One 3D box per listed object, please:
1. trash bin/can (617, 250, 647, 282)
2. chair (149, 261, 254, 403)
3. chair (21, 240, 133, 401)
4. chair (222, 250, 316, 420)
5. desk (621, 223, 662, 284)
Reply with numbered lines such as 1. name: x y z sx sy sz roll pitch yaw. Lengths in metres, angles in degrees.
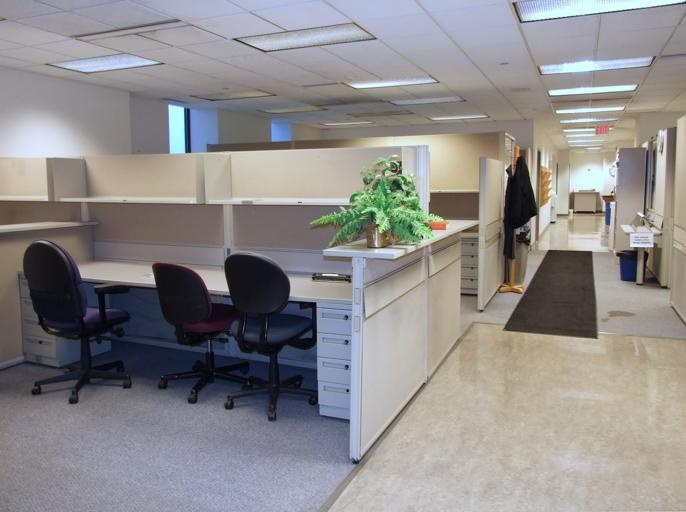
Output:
1. trash bin/can: 4.474 0.102 8.039 0.426 0.548 0.535 2 2 23
2. chair: -1.176 0.566 4.308 0.753 1.100 0.741 -4 8 -31
3. chair: -2.257 0.510 4.407 0.749 1.290 0.743 0 3 17
4. chair: -0.580 0.558 3.945 0.743 1.274 0.574 -6 14 -19
5. desk: 4.437 -0.017 7.597 0.349 0.445 0.916 0 4 19
